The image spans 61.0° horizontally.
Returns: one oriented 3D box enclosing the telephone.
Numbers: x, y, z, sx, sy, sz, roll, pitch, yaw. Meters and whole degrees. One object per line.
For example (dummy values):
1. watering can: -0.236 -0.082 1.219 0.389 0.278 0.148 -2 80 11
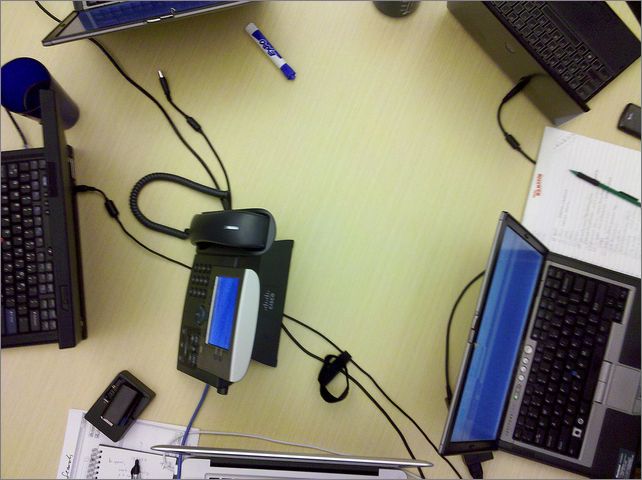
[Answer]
1. telephone: -0.238 0.154 1.492 0.302 0.483 0.288 5 6 -4
